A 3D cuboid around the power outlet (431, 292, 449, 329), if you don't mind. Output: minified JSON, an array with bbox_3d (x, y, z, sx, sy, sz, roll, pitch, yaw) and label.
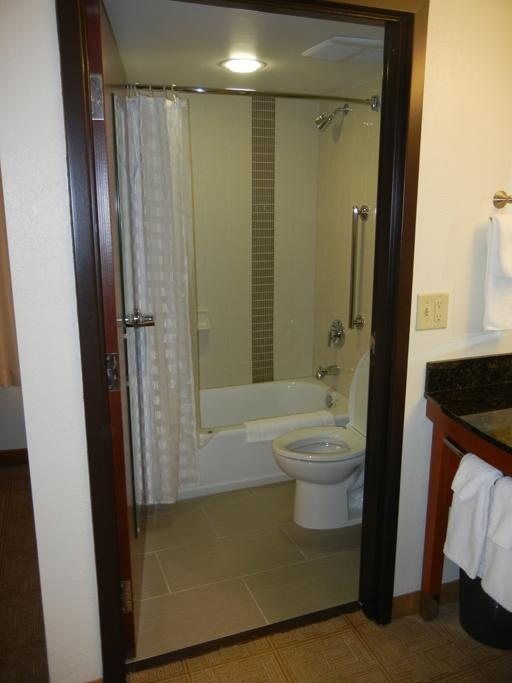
[{"bbox_3d":[0.560,-0.099,1.645,0.070,0.168,0.014,-5,8,-29],"label":"power outlet"}]

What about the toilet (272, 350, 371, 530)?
[{"bbox_3d":[0.337,0.432,2.702,0.529,1.154,0.490,-2,7,-14],"label":"toilet"}]
